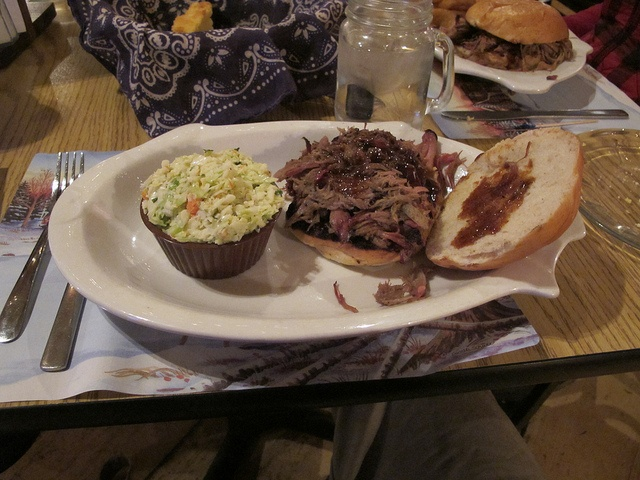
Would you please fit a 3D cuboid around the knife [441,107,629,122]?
[{"bbox_3d":[1.003,-0.595,2.294,0.755,0.034,0.083,2,46,-1],"label":"knife"}]

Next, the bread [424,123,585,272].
[{"bbox_3d":[0.653,-0.125,1.642,0.559,0.149,0.450,-34,38,15],"label":"bread"}]

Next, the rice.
[{"bbox_3d":[-0.355,-0.155,1.591,0.445,0.131,0.357,-19,62,-19],"label":"rice"}]
